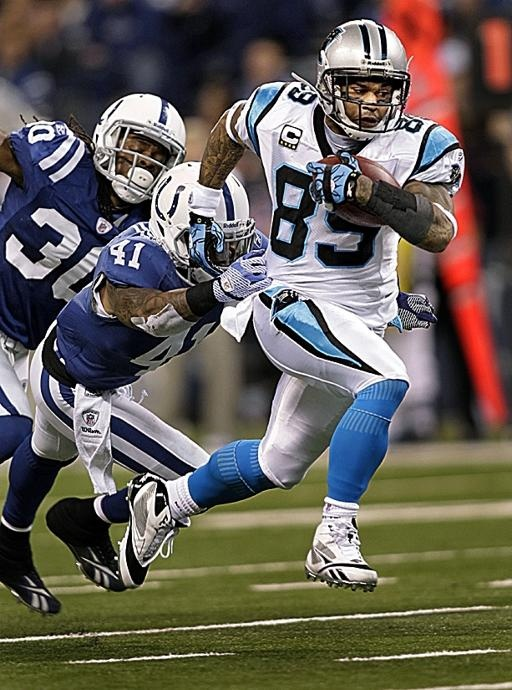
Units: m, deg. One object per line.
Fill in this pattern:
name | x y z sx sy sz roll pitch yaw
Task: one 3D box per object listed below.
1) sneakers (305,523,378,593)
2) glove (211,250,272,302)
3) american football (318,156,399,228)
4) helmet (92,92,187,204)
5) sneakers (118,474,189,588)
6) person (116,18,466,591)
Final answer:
sneakers | 0.181 0.493 1.832 0.129 0.159 0.194 -8 41 -6
glove | -0.030 -0.151 1.901 0.154 0.063 0.101 -20 43 7
american football | 0.247 -0.330 1.854 0.066 0.191 0.140 -49 46 16
helmet | -0.334 -0.636 2.755 0.338 0.341 0.396 18 3 -19
sneakers | -0.264 0.500 2.330 0.244 0.339 0.136 -3 -5 26
person | 0.076 -0.022 2.096 0.768 1.381 1.205 9 43 12
